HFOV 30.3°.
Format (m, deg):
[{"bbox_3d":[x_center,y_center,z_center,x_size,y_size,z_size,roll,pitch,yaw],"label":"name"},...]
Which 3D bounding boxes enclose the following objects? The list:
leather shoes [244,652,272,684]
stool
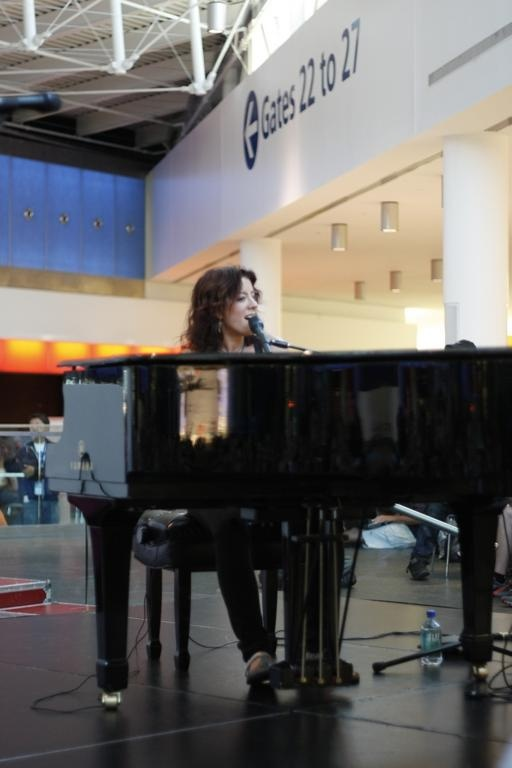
[{"bbox_3d":[0.001,0.883,2.929,0.069,0.073,0.161,5,-36,-11],"label":"leather shoes"},{"bbox_3d":[-0.184,0.732,3.428,0.509,0.549,0.446,2,-5,-26],"label":"stool"}]
